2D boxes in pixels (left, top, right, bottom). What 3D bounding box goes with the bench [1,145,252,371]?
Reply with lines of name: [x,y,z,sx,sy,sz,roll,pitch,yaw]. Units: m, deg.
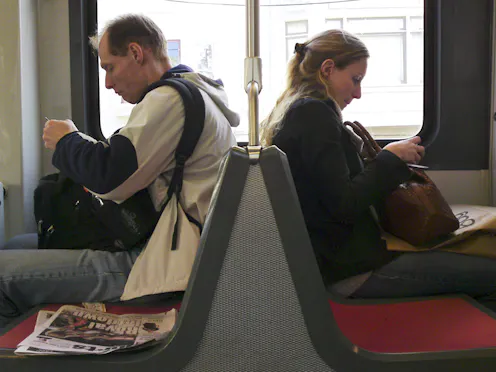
bench: [-0.394,0.228,1.398,0.790,0.700,0.204,3,4,17]

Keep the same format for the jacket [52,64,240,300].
jacket: [-0.452,-0.036,2.200,0.824,1.020,0.816,1,4,4]

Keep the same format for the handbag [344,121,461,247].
handbag: [0.699,-0.069,2.062,0.504,0.326,0.520,1,-24,46]

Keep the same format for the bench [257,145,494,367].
bench: [0.463,0.249,1.720,0.858,0.780,0.654,-9,4,1]
